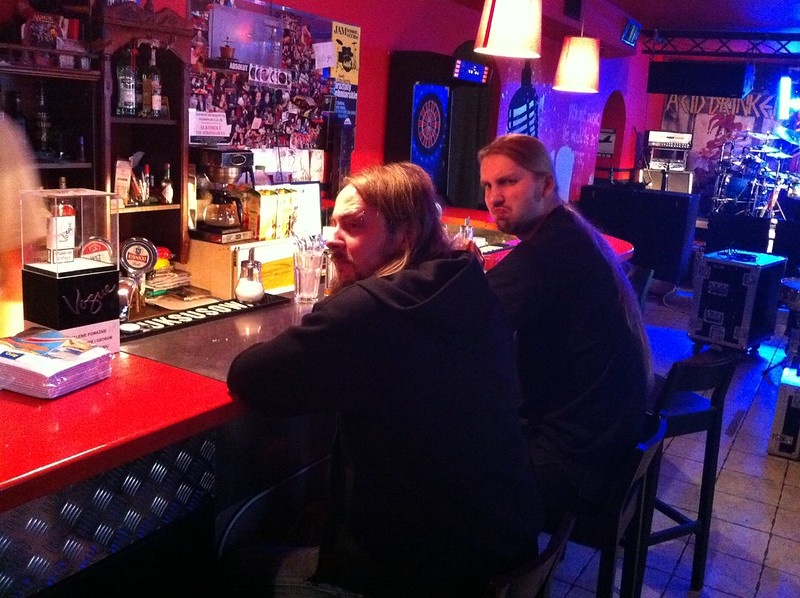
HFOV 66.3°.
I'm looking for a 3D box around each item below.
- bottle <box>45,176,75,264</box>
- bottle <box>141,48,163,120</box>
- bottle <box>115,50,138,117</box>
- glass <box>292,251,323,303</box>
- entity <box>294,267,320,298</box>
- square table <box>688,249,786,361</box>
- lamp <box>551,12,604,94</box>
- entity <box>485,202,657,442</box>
[{"bbox_3d":[-1.052,-0.266,1.892,0.079,0.263,0.078,11,17,-3],"label":"bottle"},{"bbox_3d":[-1.138,-1.032,2.790,0.092,0.307,0.162,-3,17,-20],"label":"bottle"},{"bbox_3d":[-1.201,-0.991,2.664,0.089,0.288,0.115,-4,17,-24],"label":"bottle"},{"bbox_3d":[-0.437,-0.141,2.919,0.165,0.253,0.163,-4,9,-38],"label":"glass"},{"bbox_3d":[-0.412,-0.099,2.925,0.131,0.148,0.133,15,24,29],"label":"entity"},{"bbox_3d":[3.213,0.043,5.822,0.940,0.858,0.565,-15,22,-42],"label":"square table"},{"bbox_3d":[1.351,-1.866,4.629,0.312,0.410,0.269,6,16,11],"label":"lamp"},{"bbox_3d":[0.698,0.006,2.583,0.670,1.070,0.811,-1,15,33],"label":"entity"}]
